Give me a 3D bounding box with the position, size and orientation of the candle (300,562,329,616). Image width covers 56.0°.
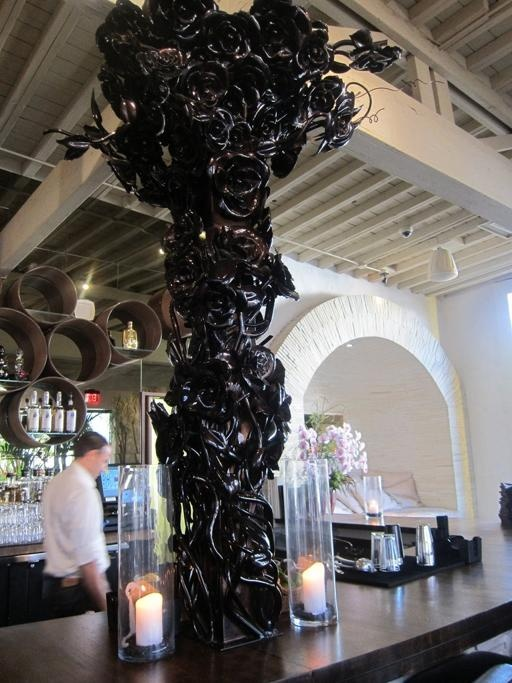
[{"bbox_3d":[0.097,0.420,0.824,0.059,0.097,0.058,1,-12,2],"label":"candle"}]

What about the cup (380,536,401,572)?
[{"bbox_3d":[0.404,0.644,1.471,0.059,0.095,0.097,-6,-13,14],"label":"cup"}]

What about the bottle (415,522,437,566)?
[{"bbox_3d":[0.530,0.651,1.534,0.054,0.114,0.101,-5,-13,13],"label":"bottle"}]

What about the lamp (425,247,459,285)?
[{"bbox_3d":[1.842,-0.780,4.836,0.252,0.345,0.247,-5,-14,14],"label":"lamp"}]

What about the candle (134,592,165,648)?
[{"bbox_3d":[-0.156,0.405,0.701,0.039,0.067,0.026,2,-14,-16],"label":"candle"}]

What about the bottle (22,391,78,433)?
[{"bbox_3d":[-1.554,0.529,3.731,0.344,0.316,0.339,-1,-7,6],"label":"bottle"}]

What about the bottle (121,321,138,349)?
[{"bbox_3d":[-1.113,-0.061,4.240,0.058,0.245,0.178,-11,-16,31],"label":"bottle"}]

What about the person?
[{"bbox_3d":[-0.865,0.884,2.323,0.320,0.881,0.373,3,-14,-21],"label":"person"}]

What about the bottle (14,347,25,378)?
[{"bbox_3d":[-1.734,0.172,3.533,0.076,0.246,0.168,5,-15,-28],"label":"bottle"}]

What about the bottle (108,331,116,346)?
[{"bbox_3d":[-1.232,-0.023,4.092,0.020,0.123,0.072,-15,-18,42],"label":"bottle"}]
